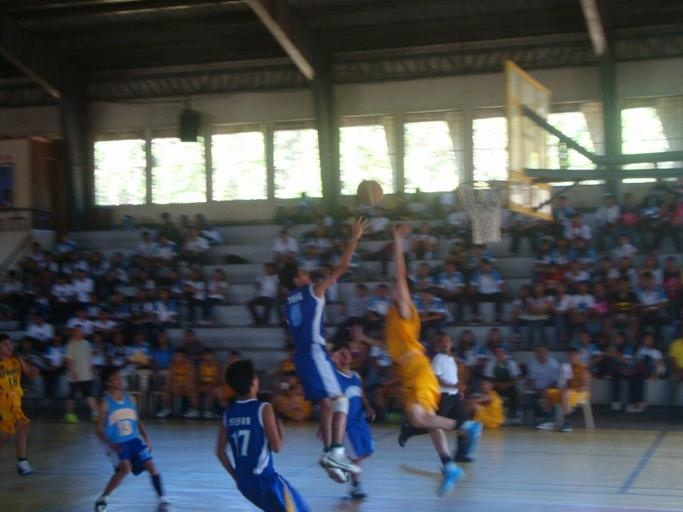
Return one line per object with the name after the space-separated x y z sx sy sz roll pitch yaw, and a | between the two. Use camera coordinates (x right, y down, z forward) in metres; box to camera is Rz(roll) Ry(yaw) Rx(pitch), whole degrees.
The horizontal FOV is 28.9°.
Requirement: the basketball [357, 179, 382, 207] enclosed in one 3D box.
0.499 -1.138 23.003 0.416 0.375 0.470 -2 -1 0 | basketball

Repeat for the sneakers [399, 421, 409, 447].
0.936 2.713 20.354 0.162 0.399 0.173 4 -4 16 | sneakers
